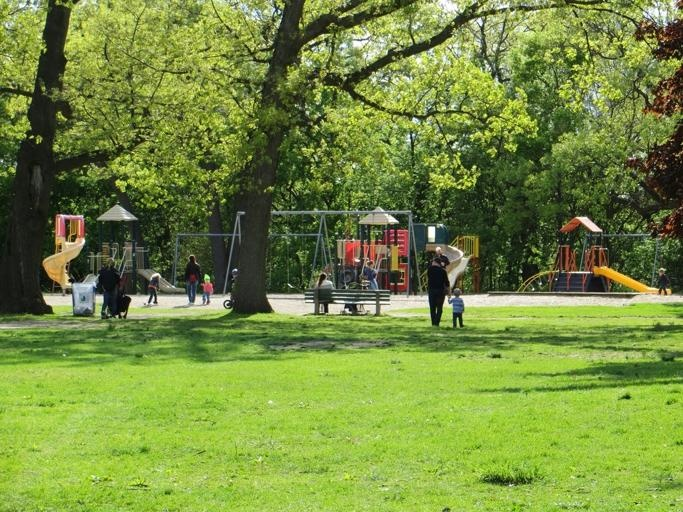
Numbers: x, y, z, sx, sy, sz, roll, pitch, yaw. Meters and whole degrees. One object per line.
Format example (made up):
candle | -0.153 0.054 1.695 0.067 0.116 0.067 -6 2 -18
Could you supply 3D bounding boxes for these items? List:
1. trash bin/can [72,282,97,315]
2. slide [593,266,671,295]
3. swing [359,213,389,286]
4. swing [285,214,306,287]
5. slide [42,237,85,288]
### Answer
trash bin/can | -8.079 1.353 33.356 0.659 0.998 0.581 -3 5 -21
slide | 13.559 1.238 50.003 2.305 1.409 3.163 -2 2 -4
swing | 1.307 -0.447 50.778 0.945 3.835 1.058 -3 2 -36
swing | -2.662 -0.175 60.961 1.178 4.132 3.846 -1 2 5
slide | -12.791 0.417 48.770 1.671 2.441 4.353 -2 5 -16
